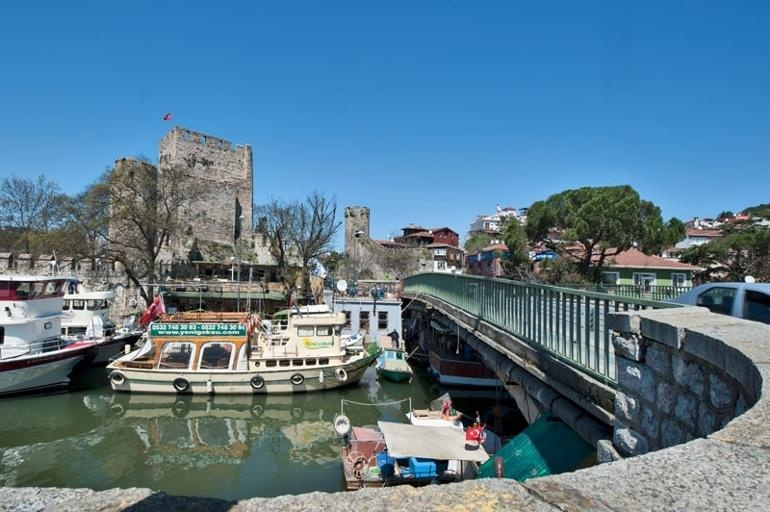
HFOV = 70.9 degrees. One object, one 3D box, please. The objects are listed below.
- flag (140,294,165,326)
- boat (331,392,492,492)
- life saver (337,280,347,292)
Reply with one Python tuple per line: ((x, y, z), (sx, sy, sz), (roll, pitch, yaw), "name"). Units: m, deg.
((-10.912, 2.386, 25.335), (0.986, 0.259, 2.760), (-2, -39, -46), "flag")
((0.682, 5.357, 15.528), (3.302, 2.014, 4.262), (1, -4, 0), "boat")
((-2.547, 1.747, 31.678), (0.075, 0.578, 0.563), (-8, 16, 35), "life saver")
